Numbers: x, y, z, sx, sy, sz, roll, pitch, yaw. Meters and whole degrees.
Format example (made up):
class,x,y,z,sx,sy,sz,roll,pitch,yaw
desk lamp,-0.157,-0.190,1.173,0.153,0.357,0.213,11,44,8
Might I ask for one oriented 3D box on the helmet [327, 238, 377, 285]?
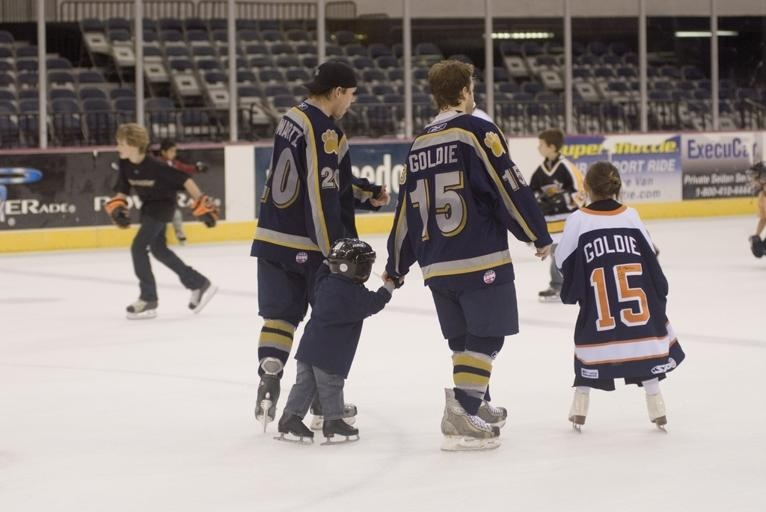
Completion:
class,x,y,z,sx,sy,sz,roll,pitch,yaw
helmet,-0.223,0.025,6.721,0.327,0.313,0.277,-4,10,-33

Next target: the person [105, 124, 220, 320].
class,x,y,z,sx,sy,sz,roll,pitch,yaw
person,-2.325,-0.379,9.948,1.088,2.024,0.595,-3,12,-12

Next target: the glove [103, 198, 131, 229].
class,x,y,z,sx,sy,sz,roll,pitch,yaw
glove,-2.813,-0.429,9.986,0.137,0.339,0.251,-25,35,34

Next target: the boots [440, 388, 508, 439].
class,x,y,z,sx,sy,sz,roll,pitch,yaw
boots,0.663,1.117,6.643,0.589,0.408,0.210,1,0,-28

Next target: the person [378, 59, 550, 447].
class,x,y,z,sx,sy,sz,roll,pitch,yaw
person,0.594,-0.040,6.591,0.789,2.594,0.864,-10,15,-35

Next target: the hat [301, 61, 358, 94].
class,x,y,z,sx,sy,sz,roll,pitch,yaw
hat,-0.348,-1.293,6.755,0.306,0.184,0.216,1,19,-10

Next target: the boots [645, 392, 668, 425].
class,x,y,z,sx,sy,sz,roll,pitch,yaw
boots,1.948,1.087,6.729,0.147,0.280,0.161,3,13,16
